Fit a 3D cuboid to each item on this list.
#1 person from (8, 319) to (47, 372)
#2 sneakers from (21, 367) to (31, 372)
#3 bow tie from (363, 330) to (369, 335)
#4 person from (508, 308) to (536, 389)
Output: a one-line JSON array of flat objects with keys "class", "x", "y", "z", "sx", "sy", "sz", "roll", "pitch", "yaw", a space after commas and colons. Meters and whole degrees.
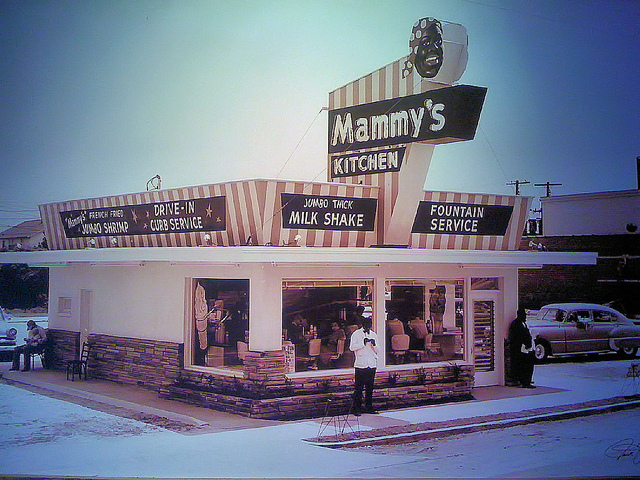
[{"class": "person", "x": -9.670, "y": 3.478, "z": 18.435, "sx": 1.059, "sy": 1.333, "sz": 0.744, "roll": 1, "pitch": -1, "yaw": -25}, {"class": "sneakers", "x": -9.691, "y": 4.229, "z": 18.216, "sx": 0.286, "sy": 0.211, "sz": 0.120, "roll": 4, "pitch": -6, "yaw": 3}, {"class": "bow tie", "x": 1.104, "y": 2.144, "z": 12.936, "sx": 0.147, "sy": 0.159, "sz": 0.079, "roll": 1, "pitch": 1, "yaw": 2}, {"class": "person", "x": 5.936, "y": 3.120, "z": 16.185, "sx": 0.747, "sy": 2.269, "sz": 0.423, "roll": 0, "pitch": -1, "yaw": 18}]
